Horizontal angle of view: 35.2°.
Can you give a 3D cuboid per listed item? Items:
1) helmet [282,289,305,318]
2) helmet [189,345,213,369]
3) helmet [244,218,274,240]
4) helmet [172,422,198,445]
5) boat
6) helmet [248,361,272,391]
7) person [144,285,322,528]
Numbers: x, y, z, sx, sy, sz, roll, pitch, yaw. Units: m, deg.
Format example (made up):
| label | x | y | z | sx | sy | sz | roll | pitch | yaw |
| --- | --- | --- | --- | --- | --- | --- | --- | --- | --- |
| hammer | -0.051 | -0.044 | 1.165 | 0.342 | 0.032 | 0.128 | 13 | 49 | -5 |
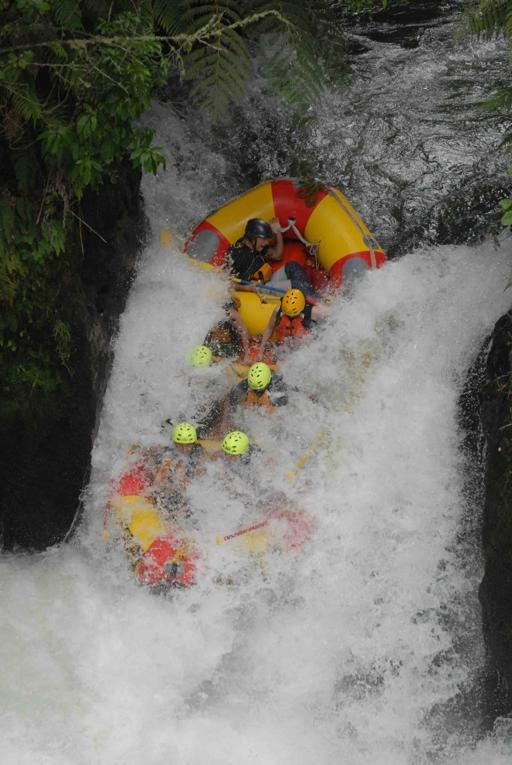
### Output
| label | x | y | z | sx | sy | sz | roll | pitch | yaw |
| --- | --- | --- | --- | --- | --- | --- | --- | --- | --- |
| helmet | 0.397 | -0.806 | 8.345 | 0.222 | 0.239 | 0.281 | 8 | 91 | 11 |
| helmet | -0.597 | -0.265 | 8.691 | 0.203 | 0.206 | 0.241 | 6 | 76 | -11 |
| helmet | 0.038 | -1.602 | 8.473 | 0.271 | 0.207 | 0.194 | -9 | 29 | 15 |
| helmet | -0.741 | 0.538 | 8.388 | 0.202 | 0.255 | 0.148 | 0 | 92 | -6 |
| boat | -0.209 | -0.069 | 9.157 | 2.692 | 0.920 | 4.487 | 25 | 98 | 7 |
| helmet | 0.046 | -0.064 | 8.574 | 0.247 | 0.146 | 0.291 | 11 | 92 | 15 |
| person | -0.305 | 0.252 | 8.909 | 1.337 | 0.731 | 2.846 | 36 | 99 | 20 |
